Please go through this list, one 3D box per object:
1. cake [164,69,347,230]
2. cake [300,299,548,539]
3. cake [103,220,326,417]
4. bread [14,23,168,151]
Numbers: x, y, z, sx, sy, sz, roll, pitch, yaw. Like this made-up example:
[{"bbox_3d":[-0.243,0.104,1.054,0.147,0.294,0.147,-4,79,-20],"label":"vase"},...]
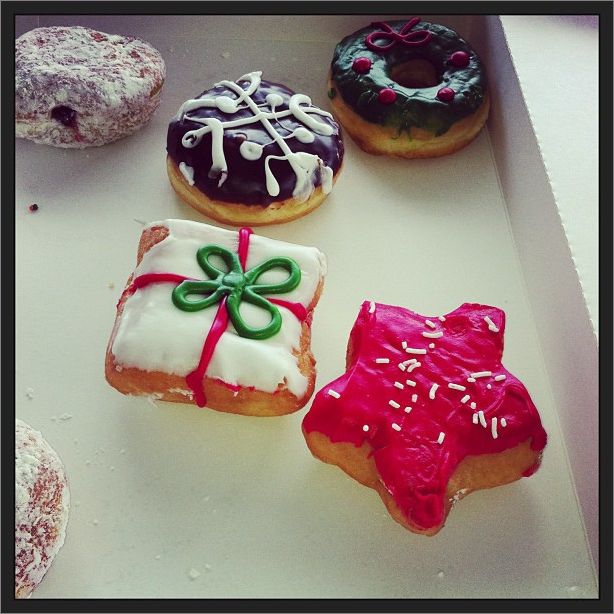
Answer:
[{"bbox_3d":[-0.138,-0.505,2.131,0.534,0.186,0.563,-25,58,-25],"label":"cake"},{"bbox_3d":[0.274,0.246,1.733,0.575,0.153,0.589,-12,63,-5],"label":"cake"},{"bbox_3d":[-0.225,0.016,1.797,0.521,0.173,0.484,7,63,5],"label":"cake"},{"bbox_3d":[-0.677,-0.620,2.149,0.441,0.414,0.138,-1,18,32],"label":"bread"}]
